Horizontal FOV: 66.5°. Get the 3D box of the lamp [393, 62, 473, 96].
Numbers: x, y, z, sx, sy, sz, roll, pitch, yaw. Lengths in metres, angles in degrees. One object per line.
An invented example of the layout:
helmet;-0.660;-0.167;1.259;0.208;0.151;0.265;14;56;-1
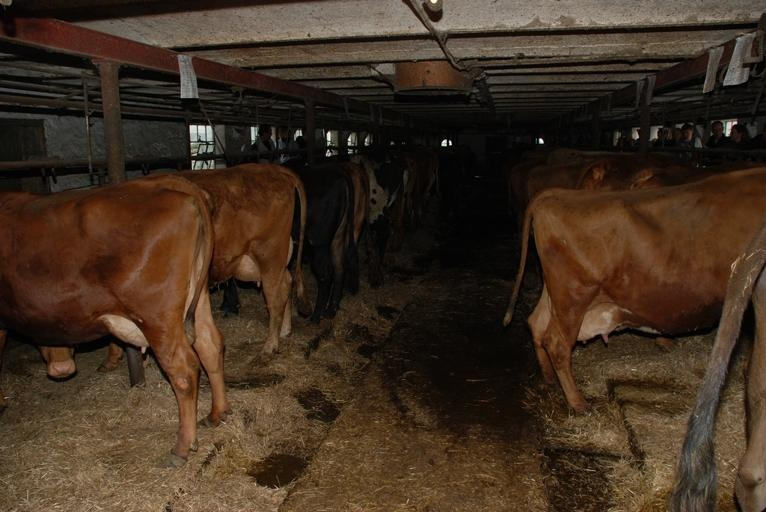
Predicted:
lamp;0.592;-2.104;6.813;0.919;0.338;0.379;-2;15;-1
